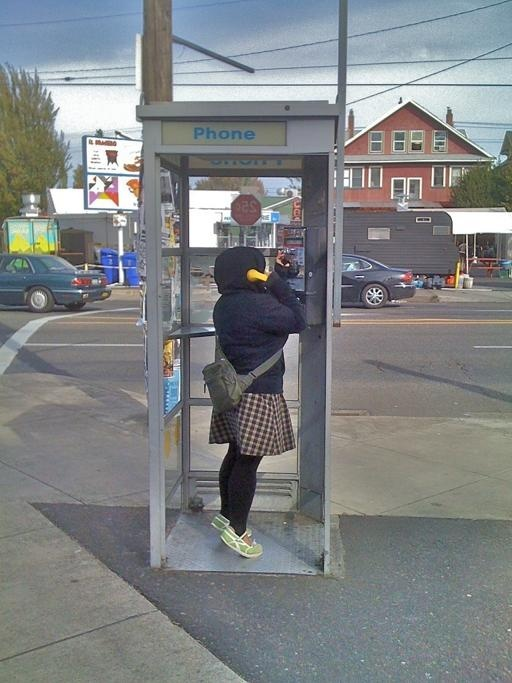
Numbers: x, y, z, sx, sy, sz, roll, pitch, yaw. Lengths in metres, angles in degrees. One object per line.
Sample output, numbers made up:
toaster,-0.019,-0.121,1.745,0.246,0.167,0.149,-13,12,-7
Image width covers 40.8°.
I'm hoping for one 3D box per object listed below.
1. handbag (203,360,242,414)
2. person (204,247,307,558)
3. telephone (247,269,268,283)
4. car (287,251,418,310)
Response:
handbag,-0.157,0.227,3.468,0.178,0.274,0.196,-1,7,-17
person,-0.025,0.346,3.684,0.506,1.687,0.570,1,7,-4
telephone,0.016,-0.341,3.541,0.111,0.052,0.047,7,-4,13
car,2.422,-1.736,20.581,4.459,1.474,1.975,2,3,0
